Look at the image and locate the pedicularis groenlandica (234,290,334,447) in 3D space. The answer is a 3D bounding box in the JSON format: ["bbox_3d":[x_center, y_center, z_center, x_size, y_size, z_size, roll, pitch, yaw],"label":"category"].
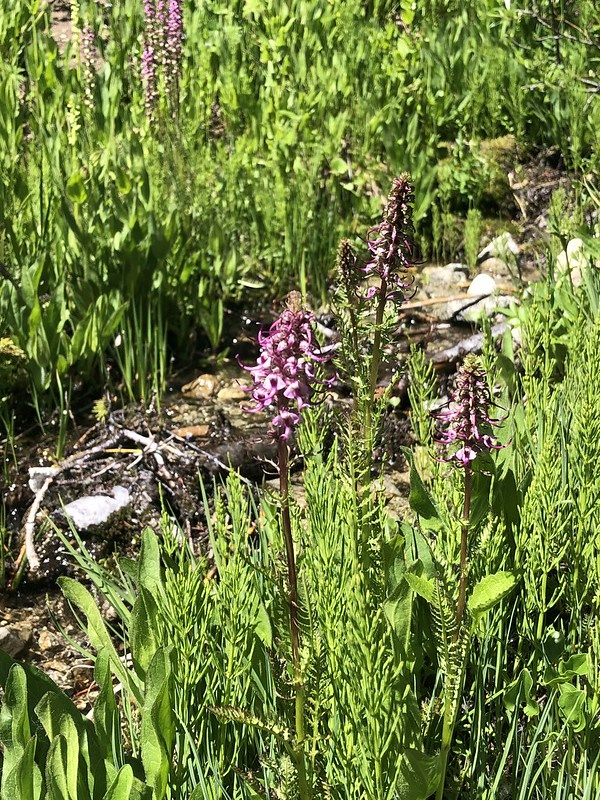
[{"bbox_3d":[-0.012,-0.079,1.318,0.133,0.287,0.161,2,35,2],"label":"pedicularis groenlandica"}]
